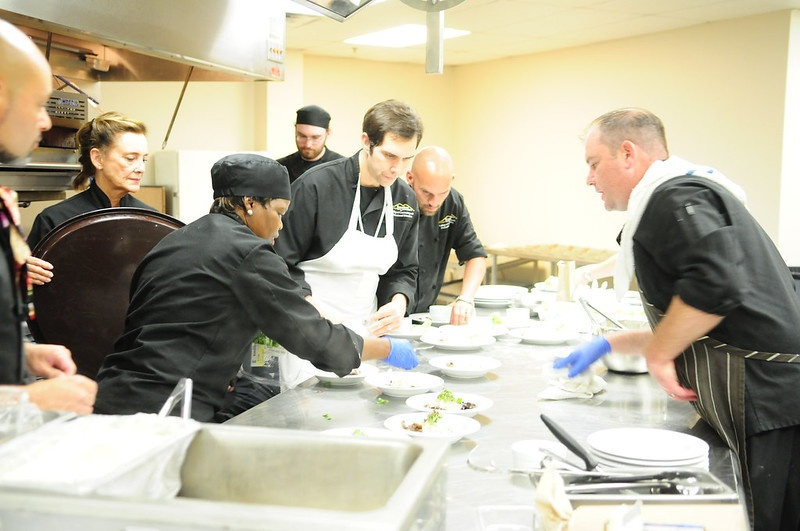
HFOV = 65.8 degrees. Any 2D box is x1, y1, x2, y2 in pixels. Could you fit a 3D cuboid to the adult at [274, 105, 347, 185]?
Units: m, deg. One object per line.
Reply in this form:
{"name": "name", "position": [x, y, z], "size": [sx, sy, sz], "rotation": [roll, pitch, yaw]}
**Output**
{"name": "adult", "position": [-0.712, -0.961, 5.196], "size": [0.879, 0.699, 0.377], "rotation": [7, 22, 11]}

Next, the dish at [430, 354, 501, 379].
{"name": "dish", "position": [0.260, 0.408, 2.525], "size": [0.278, 0.053, 0.288], "rotation": [4, 6, 24]}

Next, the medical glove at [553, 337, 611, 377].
{"name": "medical glove", "position": [0.670, 0.347, 2.234], "size": [0.212, 0.113, 0.056], "rotation": [-31, -39, 8]}

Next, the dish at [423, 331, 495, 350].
{"name": "dish", "position": [0.261, 0.338, 2.831], "size": [0.331, 0.079, 0.231], "rotation": [3, 6, 13]}

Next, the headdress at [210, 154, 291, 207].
{"name": "headdress", "position": [-0.523, -0.301, 2.183], "size": [0.249, 0.124, 0.168], "rotation": [5, 11, -7]}

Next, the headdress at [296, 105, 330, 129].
{"name": "headdress", "position": [-0.681, -1.166, 4.972], "size": [0.230, 0.121, 0.211], "rotation": [5, 6, 4]}

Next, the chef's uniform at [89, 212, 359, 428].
{"name": "chef's uniform", "position": [-0.589, 0.188, 2.159], "size": [0.901, 0.731, 0.353], "rotation": [1, 7, -8]}

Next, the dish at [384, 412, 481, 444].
{"name": "dish", "position": [0.101, 0.497, 1.911], "size": [0.164, 0.031, 0.169], "rotation": [1, 1, 39]}

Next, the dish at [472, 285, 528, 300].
{"name": "dish", "position": [0.624, 0.172, 3.806], "size": [0.291, 0.053, 0.353], "rotation": [2, 6, 12]}
